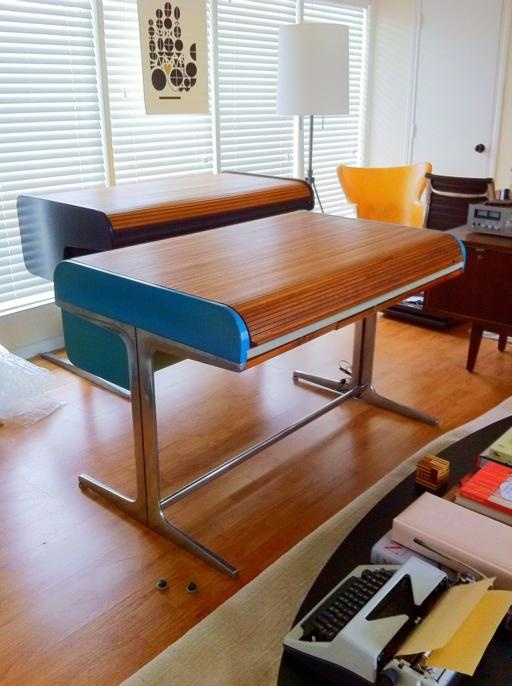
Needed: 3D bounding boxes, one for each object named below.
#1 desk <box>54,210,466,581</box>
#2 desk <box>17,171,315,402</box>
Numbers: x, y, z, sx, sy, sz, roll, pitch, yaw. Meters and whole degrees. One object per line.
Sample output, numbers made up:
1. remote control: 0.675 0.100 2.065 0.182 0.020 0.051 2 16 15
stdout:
1. desk: 0.063 0.041 1.579 0.659 0.666 1.074 21 30 37
2. desk: -0.349 -0.405 2.480 0.640 0.641 1.243 22 31 37
